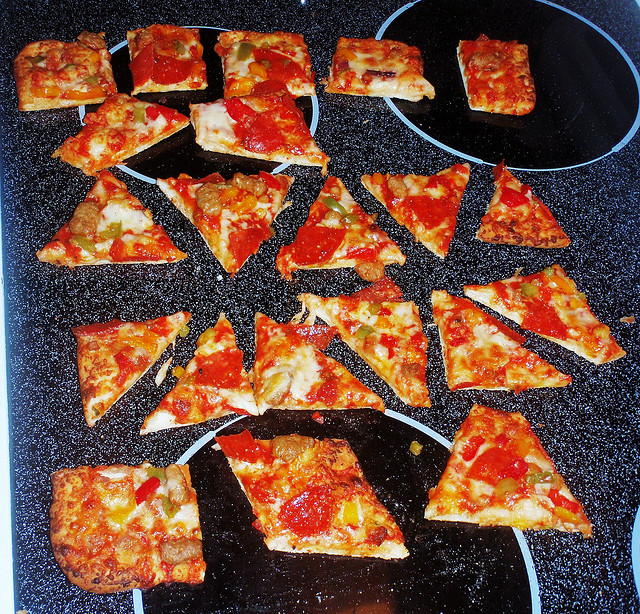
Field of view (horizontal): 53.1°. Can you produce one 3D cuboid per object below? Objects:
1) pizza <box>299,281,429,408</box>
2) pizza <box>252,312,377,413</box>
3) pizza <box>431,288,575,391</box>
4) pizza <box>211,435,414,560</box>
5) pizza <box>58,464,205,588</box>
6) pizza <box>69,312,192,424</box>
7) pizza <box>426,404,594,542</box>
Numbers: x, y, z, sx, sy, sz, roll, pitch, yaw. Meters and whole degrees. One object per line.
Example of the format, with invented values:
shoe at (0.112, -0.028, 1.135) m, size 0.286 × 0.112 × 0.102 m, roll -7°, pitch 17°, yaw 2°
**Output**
pizza at (0.333, 0.146, 2.967) m, size 0.615 × 0.118 × 0.766 m, roll -10°, pitch 48°, yaw -28°
pizza at (-0.032, 0.240, 2.817) m, size 0.579 × 0.257 × 0.400 m, roll 6°, pitch 83°, yaw 1°
pizza at (0.843, 0.138, 2.958) m, size 0.613 × 0.189 × 0.475 m, roll -2°, pitch 83°, yaw 0°
pizza at (-0.050, 0.751, 2.572) m, size 0.772 × 0.228 × 0.443 m, roll 1°, pitch 83°, yaw 0°
pizza at (-0.716, 0.835, 2.465) m, size 0.563 × 0.202 × 0.425 m, roll -3°, pitch 83°, yaw -1°
pizza at (-0.875, 0.154, 2.755) m, size 0.352 × 0.209 × 0.585 m, roll 39°, pitch 85°, yaw 4°
pizza at (0.791, 0.675, 2.685) m, size 0.668 × 0.220 × 0.480 m, roll 8°, pitch 83°, yaw 1°
